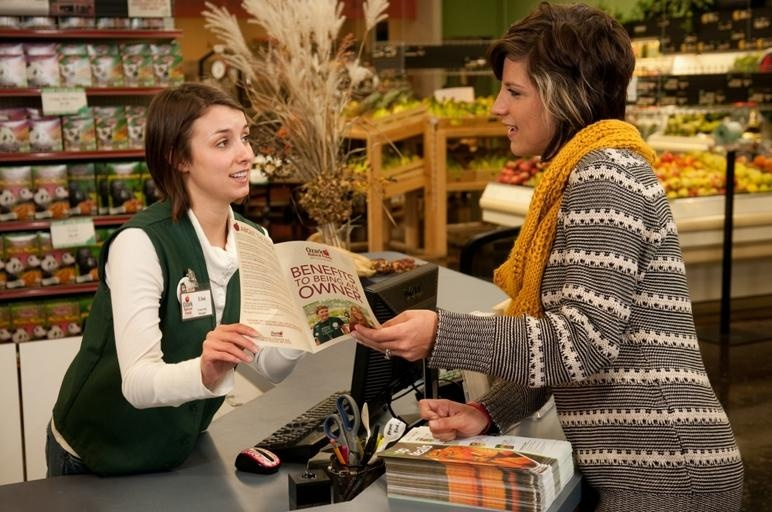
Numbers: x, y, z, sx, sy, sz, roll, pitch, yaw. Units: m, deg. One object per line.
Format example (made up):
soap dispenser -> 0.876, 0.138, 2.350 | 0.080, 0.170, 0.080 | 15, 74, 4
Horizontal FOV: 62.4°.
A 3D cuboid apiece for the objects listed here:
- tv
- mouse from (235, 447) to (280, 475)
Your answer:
tv -> 0.034, 0.317, 2.096 | 0.169, 0.472, 0.487 | 10, 19, 28
mouse -> -0.411, 0.660, 2.081 | 0.121, 0.042, 0.073 | 0, 12, 23
